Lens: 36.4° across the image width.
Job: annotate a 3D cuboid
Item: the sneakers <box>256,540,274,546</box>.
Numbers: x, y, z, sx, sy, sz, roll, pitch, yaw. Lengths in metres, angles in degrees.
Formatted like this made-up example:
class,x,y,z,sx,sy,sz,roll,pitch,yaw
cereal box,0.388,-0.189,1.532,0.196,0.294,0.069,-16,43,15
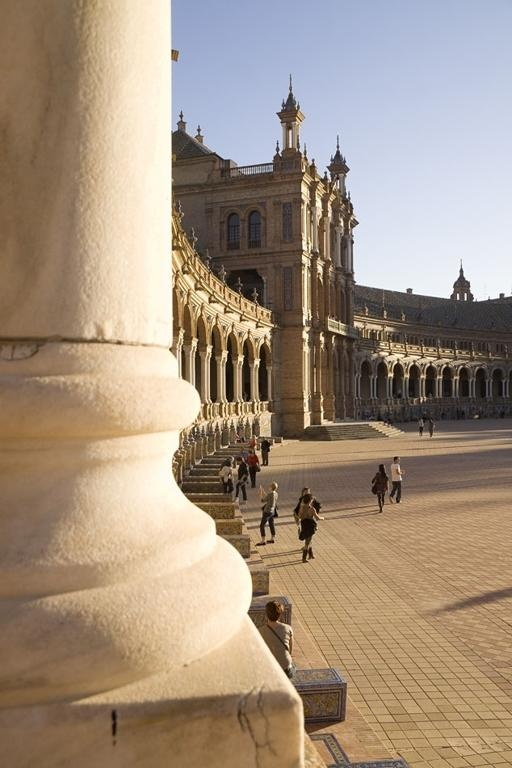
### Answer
class,x,y,z,sx,sy,sz,roll,pitch,yaw
sneakers,0.144,2.341,11.364,0.277,0.109,0.097,1,-4,-10

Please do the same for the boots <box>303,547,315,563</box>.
class,x,y,z,sx,sy,sz,roll,pitch,yaw
boots,0.670,2.221,10.094,0.165,0.191,0.162,-5,5,-9
